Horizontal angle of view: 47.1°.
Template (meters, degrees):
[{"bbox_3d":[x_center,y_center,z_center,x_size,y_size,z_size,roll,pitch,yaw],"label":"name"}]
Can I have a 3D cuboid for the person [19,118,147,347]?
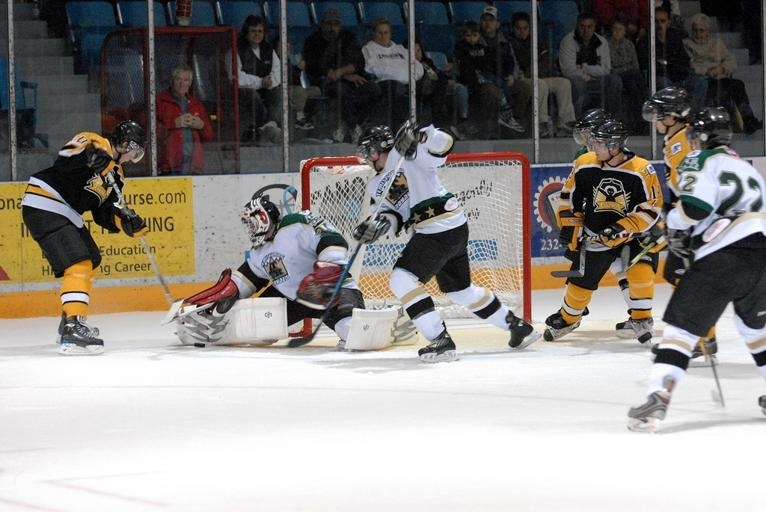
[{"bbox_3d":[-1.989,-0.153,6.010,0.754,1.508,0.567,-7,8,-33],"label":"person"}]

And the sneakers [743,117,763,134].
[{"bbox_3d":[3.642,-1.305,8.688,0.151,0.168,0.203,1,8,1],"label":"sneakers"}]

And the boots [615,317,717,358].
[{"bbox_3d":[2.008,0.573,6.041,0.743,0.301,0.218,10,-7,0],"label":"boots"}]

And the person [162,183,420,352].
[{"bbox_3d":[-0.653,0.068,6.154,1.649,1.043,1.934,-10,5,-31],"label":"person"}]

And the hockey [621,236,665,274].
[{"bbox_3d":[1.796,-0.022,6.108,0.298,0.091,0.082,-43,20,-8],"label":"hockey"}]

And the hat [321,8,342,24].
[{"bbox_3d":[-0.468,-2.171,7.979,0.128,0.092,0.165,3,9,-8],"label":"hat"}]

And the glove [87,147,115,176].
[{"bbox_3d":[-1.896,-0.636,5.865,0.146,0.173,0.125,-5,7,-20],"label":"glove"}]

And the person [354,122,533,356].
[{"bbox_3d":[0.233,-0.035,6.305,1.528,1.892,1.150,-3,-11,4],"label":"person"}]

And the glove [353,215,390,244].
[{"bbox_3d":[-0.067,-0.172,5.577,0.160,0.088,0.202,-36,-2,1],"label":"glove"}]

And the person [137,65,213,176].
[{"bbox_3d":[-1.774,-1.005,7.842,0.543,1.195,0.410,-7,17,-34],"label":"person"}]

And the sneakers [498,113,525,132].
[{"bbox_3d":[1.211,-1.272,8.420,0.306,0.124,0.100,21,47,4],"label":"sneakers"}]

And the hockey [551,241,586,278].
[{"bbox_3d":[1.427,0.009,6.783,0.310,0.090,0.378,4,43,3],"label":"hockey"}]

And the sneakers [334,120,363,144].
[{"bbox_3d":[-0.320,-1.130,8.101,0.221,0.151,0.310,-5,1,27],"label":"sneakers"}]

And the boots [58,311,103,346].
[{"bbox_3d":[-2.070,0.476,5.939,0.239,0.216,0.374,-5,7,-25],"label":"boots"}]

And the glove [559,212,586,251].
[{"bbox_3d":[1.351,-0.181,6.237,0.243,0.229,0.096,-2,4,-6],"label":"glove"}]
